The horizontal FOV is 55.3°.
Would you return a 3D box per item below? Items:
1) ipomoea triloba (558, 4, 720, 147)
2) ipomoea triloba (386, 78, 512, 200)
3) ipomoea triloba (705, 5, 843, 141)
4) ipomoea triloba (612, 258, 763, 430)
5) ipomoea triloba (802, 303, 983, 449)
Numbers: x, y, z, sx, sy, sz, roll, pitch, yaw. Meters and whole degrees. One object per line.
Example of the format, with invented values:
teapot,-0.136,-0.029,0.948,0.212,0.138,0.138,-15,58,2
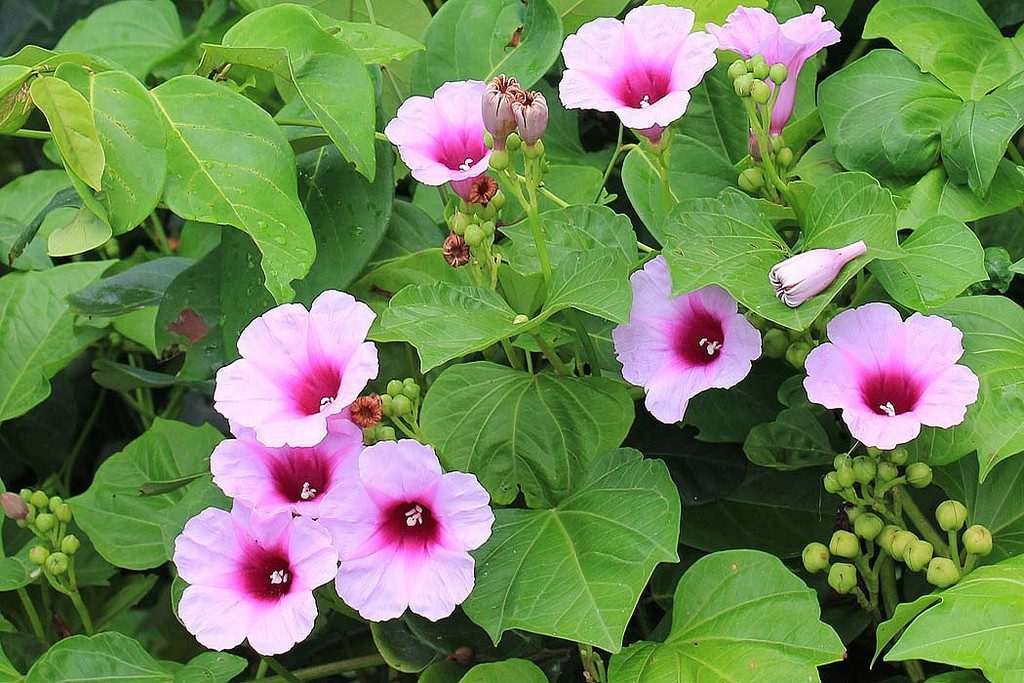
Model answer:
ipomoea triloba,0.219,-0.475,1.725,0.237,0.129,0.247,-2,64,5
ipomoea triloba,-0.099,-0.392,1.857,0.266,0.239,0.134,-21,91,-35
ipomoea triloba,0.486,-0.549,1.868,0.224,0.253,0.250,4,34,9
ipomoea triloba,0.325,-0.002,1.717,0.226,0.095,0.221,42,57,-24
ipomoea triloba,0.643,0.073,1.629,0.238,0.121,0.261,25,57,34
